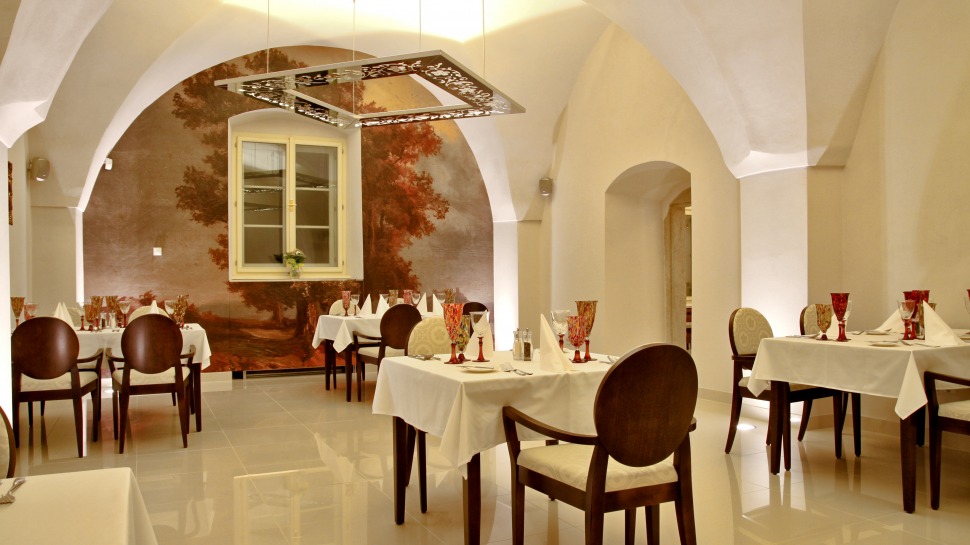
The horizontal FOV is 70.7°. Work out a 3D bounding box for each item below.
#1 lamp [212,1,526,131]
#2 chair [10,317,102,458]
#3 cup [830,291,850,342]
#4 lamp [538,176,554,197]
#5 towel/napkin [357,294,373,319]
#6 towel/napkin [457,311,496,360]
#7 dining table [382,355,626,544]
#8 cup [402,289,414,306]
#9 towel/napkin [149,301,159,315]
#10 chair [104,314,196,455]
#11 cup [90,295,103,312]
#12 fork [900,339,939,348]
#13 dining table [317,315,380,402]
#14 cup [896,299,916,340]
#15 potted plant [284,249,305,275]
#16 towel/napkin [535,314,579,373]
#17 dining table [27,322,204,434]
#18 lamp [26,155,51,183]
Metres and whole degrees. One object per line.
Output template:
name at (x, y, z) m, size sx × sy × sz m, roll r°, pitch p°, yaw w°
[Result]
lamp at (-1.196, -2.230, 8.004) m, size 2.931 × 0.627 × 1.808 m, roll 0°, pitch -3°, yaw 12°
chair at (-4.714, 1.245, 7.507) m, size 0.848 × 1.488 × 0.627 m, roll 2°, pitch -3°, yaw -30°
cup at (3.619, 0.454, 6.958) m, size 0.138 × 0.478 × 0.292 m, roll -1°, pitch -3°, yaw 26°
lamp at (1.018, -1.441, 11.644) m, size 0.236 × 0.306 × 0.339 m, roll 1°, pitch -3°, yaw -7°
towel/napkin at (-1.813, 0.529, 10.383) m, size 0.295 × 0.396 × 0.310 m, roll 1°, pitch 16°, yaw -14°
towel/napkin at (-0.139, 0.605, 6.472) m, size 0.354 × 0.576 × 0.420 m, roll -4°, pitch -8°, yaw 35°
dining table at (0.085, 1.079, 5.864) m, size 1.848 × 1.268 × 1.730 m, roll 1°, pitch -2°, yaw -30°
cup at (-1.186, 0.378, 10.536) m, size 0.149 × 0.213 × 0.582 m, roll 1°, pitch -3°, yaw -7°
towel/napkin at (-4.419, 0.463, 9.131) m, size 0.106 × 0.141 × 0.878 m, roll 2°, pitch -4°, yaw -26°
chair at (-3.885, 1.238, 7.919) m, size 0.925 × 1.505 × 0.985 m, roll 2°, pitch -3°, yaw -25°
cup at (-4.871, 0.403, 8.547) m, size 0.142 × 0.194 × 0.159 m, roll 8°, pitch -12°, yaw -43°
fork at (4.206, 0.700, 6.633) m, size 0.847 × 0.087 × 0.093 m, roll 2°, pitch 4°, yaw -22°
dining table at (-2.177, 1.241, 10.031) m, size 1.224 × 1.098 × 1.139 m, roll 0°, pitch 0°, yaw -33°
cup at (4.268, 0.484, 6.889) m, size 0.138 × 0.386 × 0.272 m, roll -1°, pitch -3°, yaw 31°
potted plant at (-3.240, -0.169, 11.630) m, size 0.357 × 0.450 × 0.294 m, roll 2°, pitch -3°, yaw -21°
towel/napkin at (0.689, 0.676, 6.120) m, size 0.365 × 0.604 × 0.447 m, roll 1°, pitch -6°, yaw -38°
dining table at (-4.102, 1.524, 8.255) m, size 1.929 × 0.876 × 1.316 m, roll 1°, pitch -3°, yaw -19°
lamp at (-6.295, -1.469, 9.754) m, size 0.330 × 0.318 × 0.277 m, roll -5°, pitch -5°, yaw 33°
